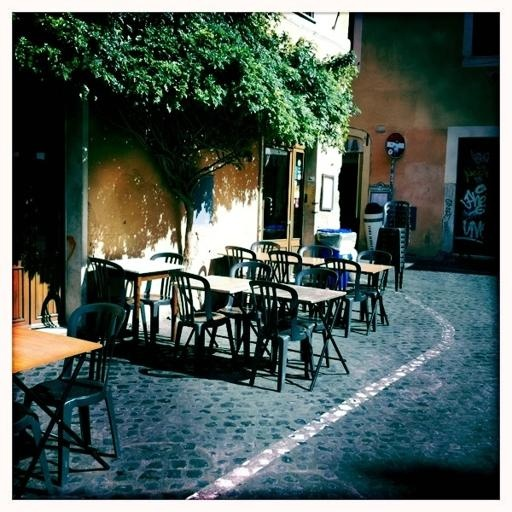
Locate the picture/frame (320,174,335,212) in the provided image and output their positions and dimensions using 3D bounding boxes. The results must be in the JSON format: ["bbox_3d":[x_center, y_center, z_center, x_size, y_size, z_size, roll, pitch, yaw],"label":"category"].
[{"bbox_3d":[1.654,-1.488,11.730,0.066,0.901,0.809,2,8,22],"label":"picture/frame"}]

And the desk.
[{"bbox_3d":[-1.177,0.850,2.950,0.686,0.591,0.681,-7,2,-2],"label":"desk"}]

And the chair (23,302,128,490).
[{"bbox_3d":[-1.182,0.854,3.313,0.490,1.032,0.535,3,5,29],"label":"chair"}]
